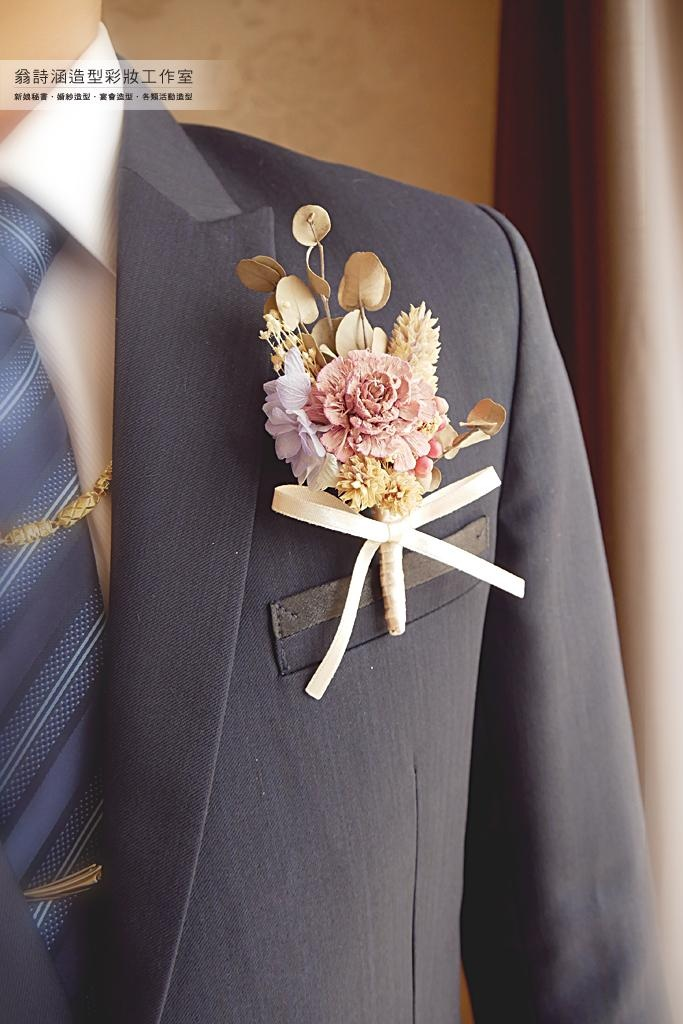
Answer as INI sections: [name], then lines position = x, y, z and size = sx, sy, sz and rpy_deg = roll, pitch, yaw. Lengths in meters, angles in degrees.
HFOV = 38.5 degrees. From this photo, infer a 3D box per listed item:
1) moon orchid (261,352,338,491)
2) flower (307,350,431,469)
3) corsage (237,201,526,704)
[moon orchid]
position = -0.036, -0.057, 0.624
size = 0.032, 0.077, 0.076
rpy_deg = -6, -29, -27
[flower]
position = 0.021, -0.068, 0.652
size = 0.086, 0.076, 0.052
rpy_deg = 5, -5, -2
[corsage]
position = 0.027, -0.040, 0.709
size = 0.179, 0.325, 0.153
rpy_deg = -3, 26, -14
